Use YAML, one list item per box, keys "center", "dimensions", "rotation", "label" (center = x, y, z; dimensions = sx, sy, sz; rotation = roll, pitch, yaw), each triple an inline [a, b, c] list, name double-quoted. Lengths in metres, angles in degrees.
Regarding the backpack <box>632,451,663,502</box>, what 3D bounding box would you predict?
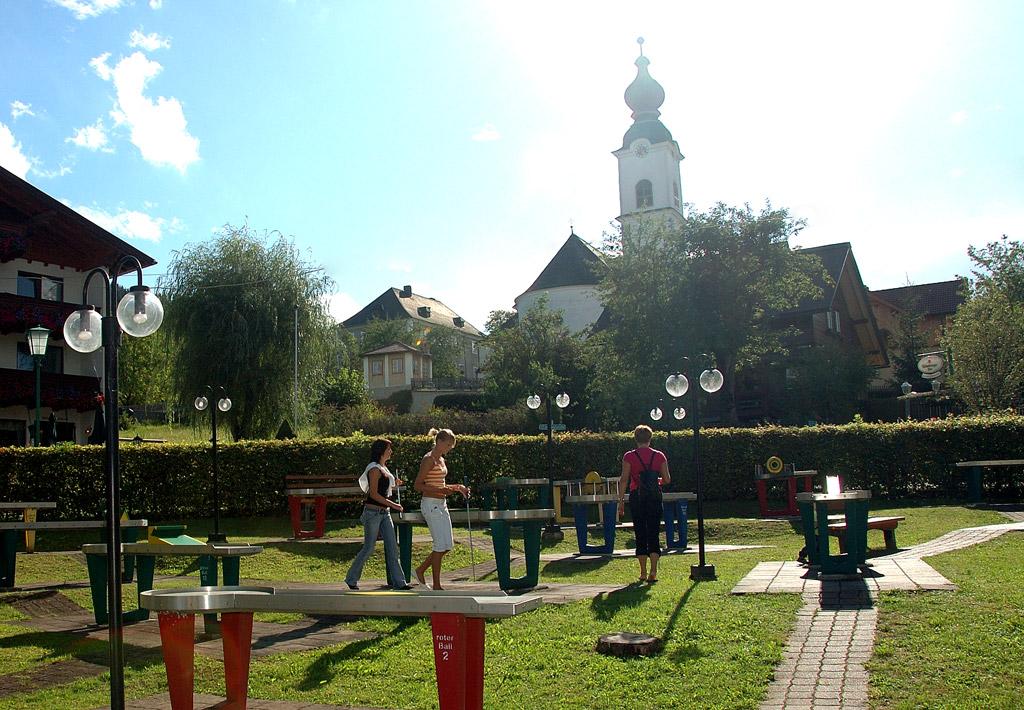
- center: [2.459, 2.241, 17.054]
  dimensions: [0.518, 0.964, 0.454]
  rotation: [-6, -1, 2]
  label: "backpack"
